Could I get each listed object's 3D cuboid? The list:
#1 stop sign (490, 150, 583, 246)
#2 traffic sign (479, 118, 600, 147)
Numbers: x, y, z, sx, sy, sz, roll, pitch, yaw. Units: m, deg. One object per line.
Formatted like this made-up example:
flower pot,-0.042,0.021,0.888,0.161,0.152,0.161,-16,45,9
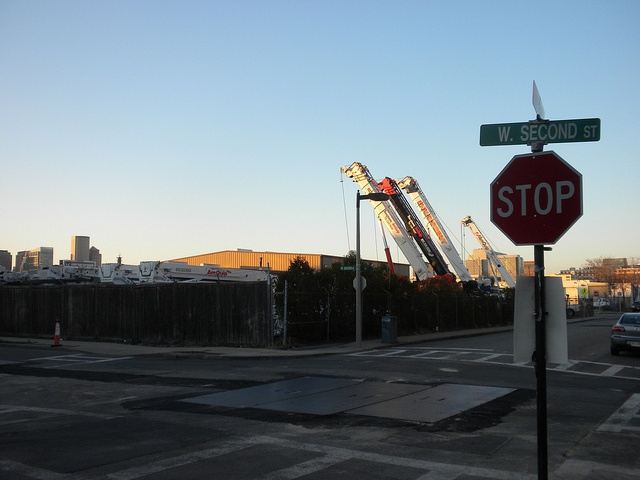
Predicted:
stop sign,2.558,-0.474,7.185,1.126,1.201,0.049,2,-4,17
traffic sign,2.629,-1.253,7.443,1.201,0.408,0.721,0,-5,-14
